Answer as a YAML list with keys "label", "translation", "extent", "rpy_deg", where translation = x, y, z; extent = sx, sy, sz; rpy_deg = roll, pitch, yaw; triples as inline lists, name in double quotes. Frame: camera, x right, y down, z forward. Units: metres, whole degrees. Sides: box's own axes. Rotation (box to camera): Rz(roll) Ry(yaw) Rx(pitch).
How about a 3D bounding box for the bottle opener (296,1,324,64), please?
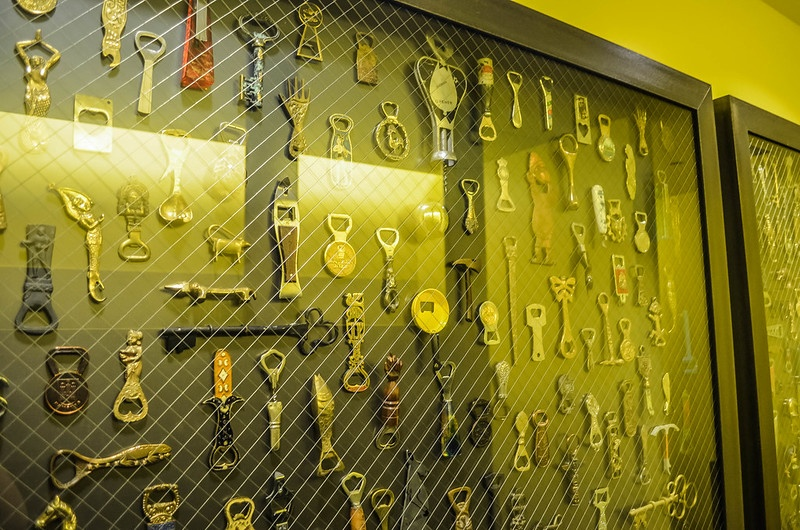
- label: "bottle opener"
  translation: [-0.280, -0.716, 2.724]
  extent: [0.064, 0.158, 0.127]
  rpy_deg: [1, -36, 15]

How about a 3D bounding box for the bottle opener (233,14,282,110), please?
- label: "bottle opener"
  translation: [-0.436, -0.613, 2.652]
  extent: [0.111, 0.253, 0.172]
  rpy_deg: [4, -35, 12]

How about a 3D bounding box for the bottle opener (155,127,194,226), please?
- label: "bottle opener"
  translation: [-0.651, -0.253, 2.558]
  extent: [0.089, 0.279, 0.036]
  rpy_deg: [-2, -2, -30]

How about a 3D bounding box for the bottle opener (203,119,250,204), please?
- label: "bottle opener"
  translation: [-0.510, -0.311, 2.627]
  extent: [0.127, 0.242, 0.021]
  rpy_deg: [4, -12, -9]

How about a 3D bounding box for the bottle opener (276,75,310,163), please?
- label: "bottle opener"
  translation: [-0.322, -0.449, 2.689]
  extent: [0.070, 0.211, 0.143]
  rpy_deg: [-3, -37, 20]
